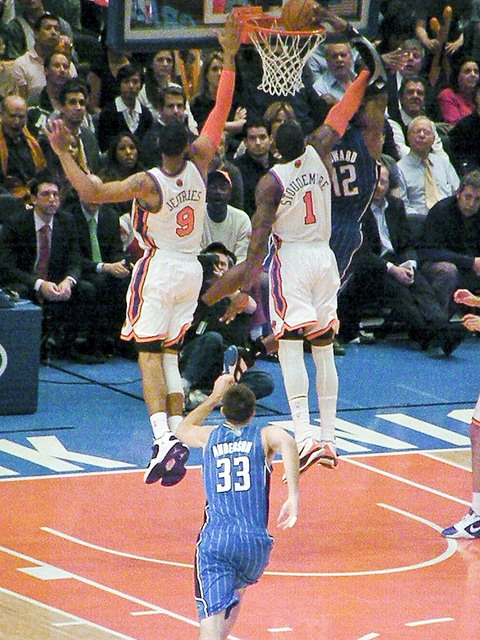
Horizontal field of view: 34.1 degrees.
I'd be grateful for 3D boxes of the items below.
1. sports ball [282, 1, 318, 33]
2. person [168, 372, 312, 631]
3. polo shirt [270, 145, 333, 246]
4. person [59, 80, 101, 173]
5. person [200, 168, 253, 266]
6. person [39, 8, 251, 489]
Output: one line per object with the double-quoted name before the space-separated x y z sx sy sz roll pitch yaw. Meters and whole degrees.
"sports ball" 0.438 -2.143 5.572 0.226 0.246 0.283 1 8 22
"person" -0.019 0.582 2.573 0.364 0.709 0.694 3 5 -6
"polo shirt" 0.348 -0.701 4.380 0.343 0.558 0.267 4 5 3
"person" -1.630 -1.754 7.649 0.478 1.103 0.387 -2 14 -25
"person" -0.201 -0.891 7.131 0.720 0.891 0.541 0 7 -5
"person" -0.371 -0.427 4.337 0.774 2.623 1.168 8 7 33
